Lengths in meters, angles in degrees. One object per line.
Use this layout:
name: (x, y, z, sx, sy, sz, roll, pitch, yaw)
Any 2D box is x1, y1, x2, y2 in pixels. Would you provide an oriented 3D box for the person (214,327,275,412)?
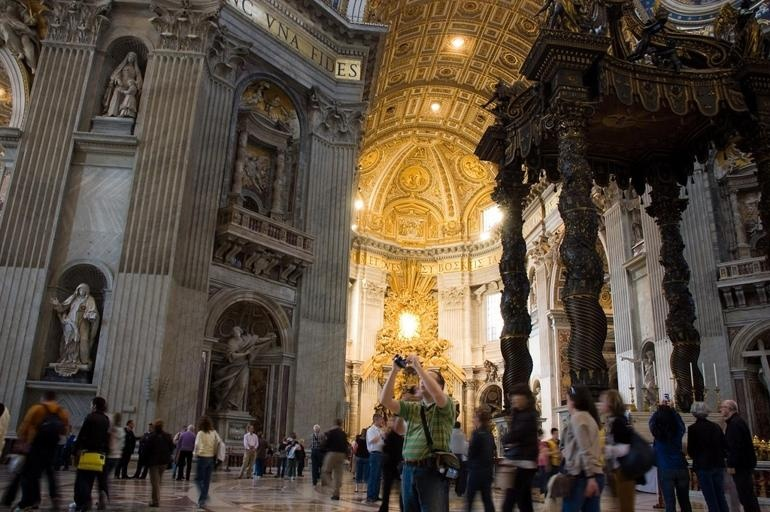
person: (-4.286, 3.366, 17.392, 1.460, 2.503, 0.560, 5, -20, -15)

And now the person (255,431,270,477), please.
person: (-3.344, 5.445, 15.811, 0.271, 0.990, 0.567, 6, -20, -15)

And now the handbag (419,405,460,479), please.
handbag: (0.639, 2.087, 6.513, 0.453, 0.771, 0.201, 10, -21, -27)

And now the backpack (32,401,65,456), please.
backpack: (-4.770, 2.484, 8.363, 0.395, 0.685, 0.254, 14, -23, -35)

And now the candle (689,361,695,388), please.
candle: (5.753, 2.217, 10.958, 0.078, 0.428, 0.110, -2, -19, 7)

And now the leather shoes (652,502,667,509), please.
leather shoes: (4.636, 4.257, 9.923, 0.076, 0.095, 0.235, 9, -15, -14)

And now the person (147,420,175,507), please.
person: (-3.789, 3.432, 9.729, 0.376, 1.349, 0.561, 4, -19, -12)

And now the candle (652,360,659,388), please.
candle: (8.310, 3.612, 18.055, 0.135, 0.715, 0.296, -3, -19, 9)

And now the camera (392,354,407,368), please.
camera: (0.159, 1.157, 6.434, 0.136, 0.148, 0.141, -8, -9, -5)

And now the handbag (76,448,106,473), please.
handbag: (-4.296, 2.995, 8.562, 0.366, 0.287, 0.156, 3, -19, -8)

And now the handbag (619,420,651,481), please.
handbag: (2.969, 2.318, 6.932, 0.384, 0.588, 0.249, -7, -20, 20)

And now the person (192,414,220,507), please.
person: (-3.088, 3.534, 10.113, 0.415, 1.447, 1.350, 6, -20, -16)

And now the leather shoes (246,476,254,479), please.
leather shoes: (-3.437, 5.750, 15.084, 0.111, 0.057, 0.143, 20, -20, -22)

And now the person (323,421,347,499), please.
person: (-1.015, 4.047, 11.752, 0.497, 1.502, 1.357, 2, -19, -4)

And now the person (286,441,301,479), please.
person: (-2.504, 5.580, 16.046, 0.370, 0.976, 1.094, 3, -19, -8)

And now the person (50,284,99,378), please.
person: (-8.045, 1.944, 15.229, 1.051, 2.358, 0.591, 7, -20, -20)

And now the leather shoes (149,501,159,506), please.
leather shoes: (-3.737, 4.009, 9.465, 0.175, 0.077, 0.064, -4, -15, 35)

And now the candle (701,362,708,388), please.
candle: (9.389, 3.427, 17.252, 0.111, 0.591, 0.202, -15, -24, 38)

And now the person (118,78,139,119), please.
person: (-7.351, -4.518, 16.914, 0.475, 1.312, 0.261, 9, -21, -24)
